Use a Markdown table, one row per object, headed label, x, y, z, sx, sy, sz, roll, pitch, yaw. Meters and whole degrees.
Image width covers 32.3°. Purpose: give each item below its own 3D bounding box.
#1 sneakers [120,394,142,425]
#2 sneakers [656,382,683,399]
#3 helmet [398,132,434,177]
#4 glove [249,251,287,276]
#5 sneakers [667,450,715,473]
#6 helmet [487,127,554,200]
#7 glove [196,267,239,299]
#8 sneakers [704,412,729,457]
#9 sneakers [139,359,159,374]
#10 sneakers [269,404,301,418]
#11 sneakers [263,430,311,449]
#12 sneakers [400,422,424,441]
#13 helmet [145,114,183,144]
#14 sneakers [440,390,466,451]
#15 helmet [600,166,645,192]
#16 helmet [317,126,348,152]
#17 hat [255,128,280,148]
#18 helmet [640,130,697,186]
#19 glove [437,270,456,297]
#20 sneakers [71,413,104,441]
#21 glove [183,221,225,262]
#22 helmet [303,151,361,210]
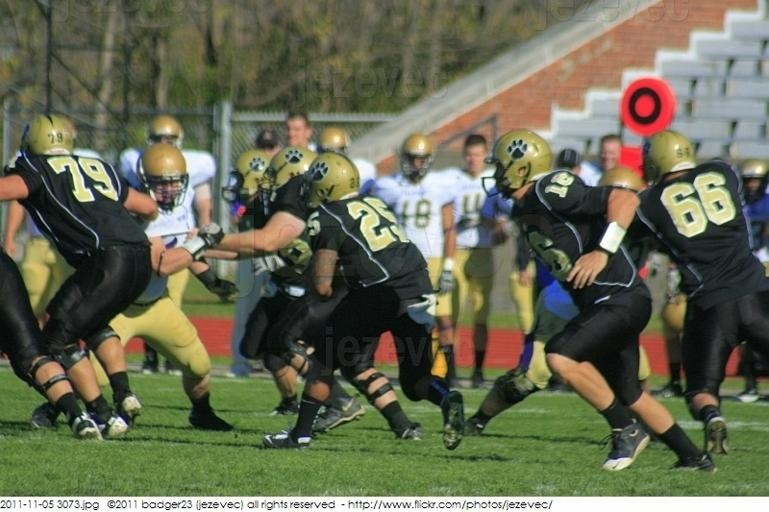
| label | x | y | z | sx | sy | sz | roll | pitch | yaw |
| --- | --- | --- | --- | --- | --- | --- | --- | --- | --- |
| sneakers | -1.936 | 1.204 | 10.116 | 0.182 | 0.224 | 0.207 | -4 | -16 | -12 |
| sneakers | 2.520 | 1.211 | 11.689 | 0.210 | 0.093 | 0.137 | -7 | 2 | 7 |
| helmet | 0.280 | -0.855 | 11.690 | 0.293 | 0.387 | 0.373 | -2 | 49 | -6 |
| glove | -0.936 | 0.075 | 10.819 | 0.248 | 0.190 | 0.102 | 4 | 45 | 37 |
| sneakers | 2.244 | 1.530 | 9.669 | 0.316 | 0.137 | 0.120 | 2 | -4 | 4 |
| helmet | 1.018 | -0.711 | 10.079 | 0.516 | 0.511 | 0.400 | 4 | 6 | 8 |
| glove | -1.336 | 0.254 | 10.764 | 0.327 | 0.135 | 0.213 | 31 | 27 | 19 |
| sneakers | 2.441 | 1.336 | 9.708 | 0.136 | 0.303 | 0.149 | 0 | -4 | 5 |
| sneakers | -2.165 | 1.054 | 12.215 | 0.086 | 0.108 | 0.173 | -2 | -18 | 13 |
| sneakers | -0.829 | 1.284 | 10.841 | 0.277 | 0.120 | 0.093 | -4 | 5 | 12 |
| sneakers | -0.726 | 1.400 | 9.987 | 0.368 | 0.150 | 0.132 | 4 | -7 | 8 |
| sneakers | 0.237 | 1.378 | 10.218 | 0.168 | 0.157 | 0.125 | 0 | -16 | 21 |
| helmet | -1.925 | -1.134 | 11.662 | 0.229 | 0.280 | 0.284 | -5 | 28 | -27 |
| sneakers | 0.531 | 1.253 | 9.856 | 0.165 | 0.425 | 0.174 | 2 | 12 | 16 |
| helmet | 1.873 | -0.634 | 10.397 | 0.236 | 0.206 | 0.252 | 17 | 17 | 31 |
| helmet | -0.465 | -1.026 | 11.609 | 0.247 | 0.220 | 0.205 | -11 | 18 | -44 |
| hat | -1.049 | -1.072 | 11.963 | 0.164 | 0.205 | 0.208 | -1 | 22 | -4 |
| helmet | 2.246 | -0.757 | 10.193 | 0.342 | 0.379 | 0.432 | -7 | 19 | -24 |
| glove | 0.545 | 0.249 | 11.667 | 0.151 | 0.204 | 0.075 | 4 | -5 | 17 |
| sneakers | -2.207 | 1.301 | 9.806 | 0.282 | 0.120 | 0.126 | 42 | -3 | -10 |
| glove | -1.360 | -0.087 | 10.200 | 0.222 | 0.324 | 0.137 | 55 | 3 | 33 |
| helmet | -0.452 | -0.573 | 10.002 | 0.432 | 0.420 | 0.366 | 17 | 16 | 33 |
